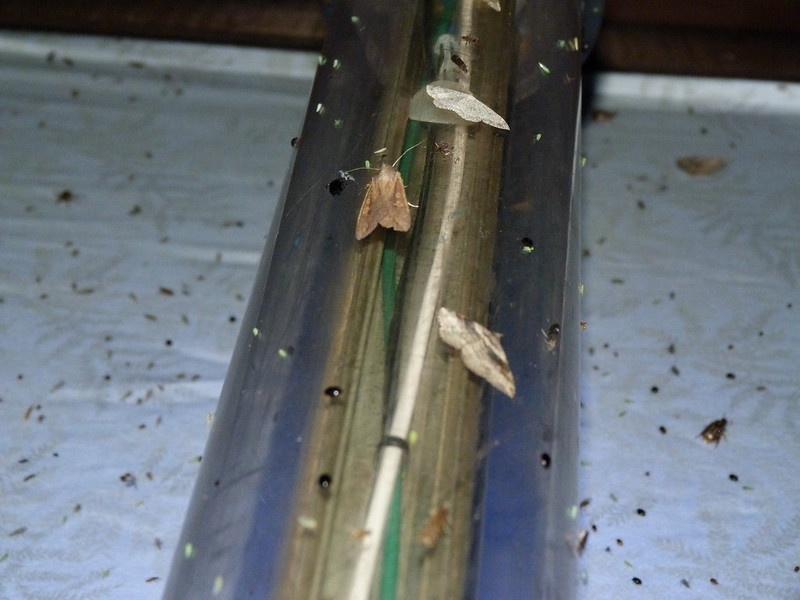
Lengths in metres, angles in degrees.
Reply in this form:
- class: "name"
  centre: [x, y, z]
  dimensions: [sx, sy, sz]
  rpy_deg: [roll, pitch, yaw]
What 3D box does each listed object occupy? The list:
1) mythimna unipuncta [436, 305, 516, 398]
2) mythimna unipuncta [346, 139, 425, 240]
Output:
- class: "mythimna unipuncta"
  centre: [0.097, 0.074, 1.118]
  dimensions: [0.069, 0.149, 0.041]
  rpy_deg: [-46, 14, -19]
- class: "mythimna unipuncta"
  centre: [-0.015, -0.146, 1.120]
  dimensions: [0.079, 0.115, 0.095]
  rpy_deg: [6, 31, -2]
